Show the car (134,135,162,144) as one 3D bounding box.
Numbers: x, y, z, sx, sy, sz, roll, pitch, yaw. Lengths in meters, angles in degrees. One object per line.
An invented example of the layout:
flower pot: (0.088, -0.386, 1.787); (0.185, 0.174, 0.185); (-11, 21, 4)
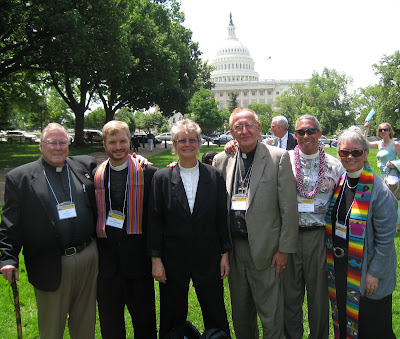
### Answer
car: (-5.016, -2.658, 38.145); (2.194, 0.854, 1.089); (-2, 7, -1)

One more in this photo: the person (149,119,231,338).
person: (-0.125, 0.660, 4.542); (0.928, 2.440, 0.447); (0, 6, 4)

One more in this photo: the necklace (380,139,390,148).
necklace: (3.970, -0.559, 8.582); (0.140, 0.164, 0.045); (1, 18, 38)

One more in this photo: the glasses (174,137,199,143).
glasses: (-0.148, -0.328, 4.528); (0.245, 0.067, 0.075); (0, 7, 0)

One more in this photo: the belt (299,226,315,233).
belt: (1.297, 0.719, 4.826); (0.199, 0.070, 0.022); (0, 6, 4)

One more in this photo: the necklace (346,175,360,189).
necklace: (1.706, 0.146, 4.485); (0.093, 0.103, 0.121); (2, -2, 16)

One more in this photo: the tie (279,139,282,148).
tie: (1.679, -0.545, 8.402); (0.046, 0.216, 0.149); (4, 2, -2)
